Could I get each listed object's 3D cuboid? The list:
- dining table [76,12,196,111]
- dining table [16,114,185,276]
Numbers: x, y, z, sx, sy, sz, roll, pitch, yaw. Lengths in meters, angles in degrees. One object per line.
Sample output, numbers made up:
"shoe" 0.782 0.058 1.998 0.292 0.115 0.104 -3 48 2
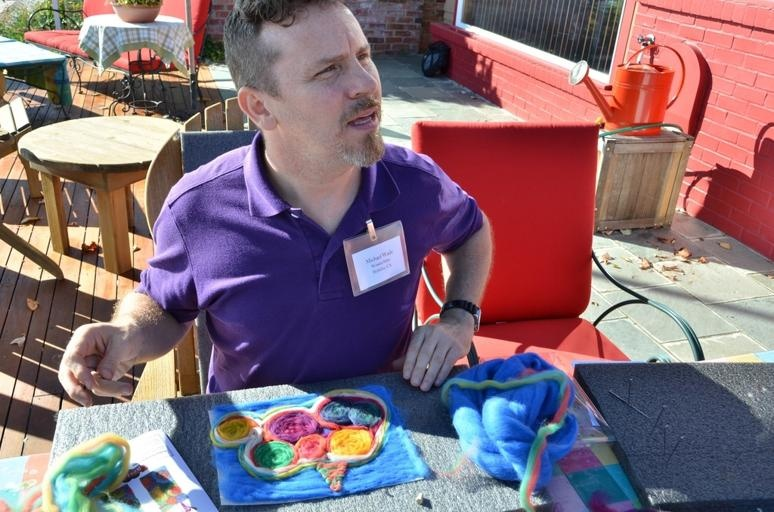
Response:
"dining table" -3.160 -2.652 6.949 1.198 0.600 1.238 -2 32 -10
"dining table" -2.107 -0.406 3.899 0.878 0.681 0.929 20 38 14
